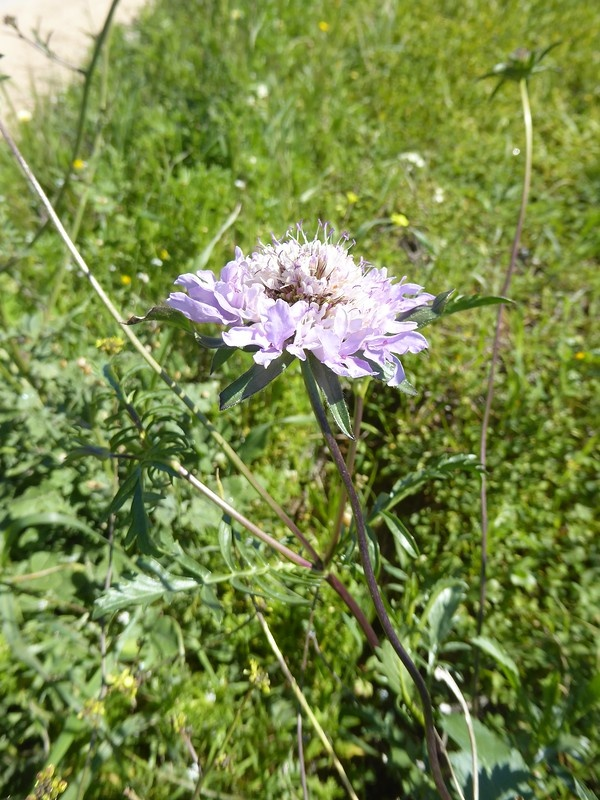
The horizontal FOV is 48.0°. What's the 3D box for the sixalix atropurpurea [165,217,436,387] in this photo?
[{"bbox_3d":[0.004,-0.161,1.744,0.499,0.262,0.487,-1,40,-24],"label":"sixalix atropurpurea"}]
